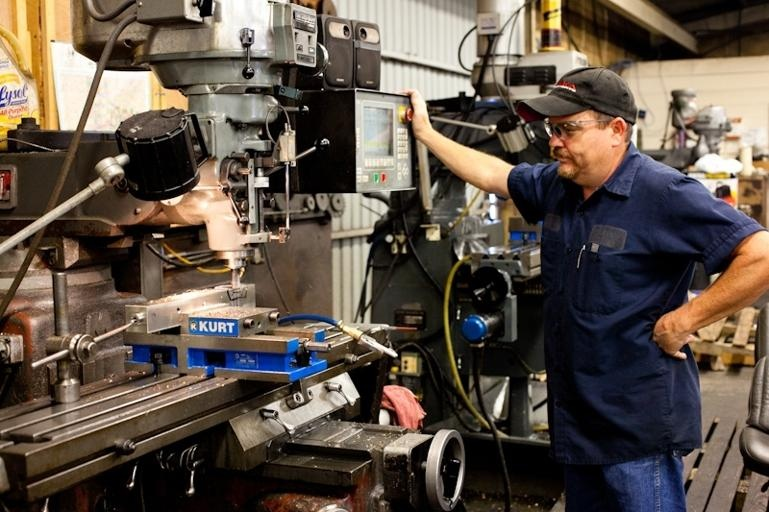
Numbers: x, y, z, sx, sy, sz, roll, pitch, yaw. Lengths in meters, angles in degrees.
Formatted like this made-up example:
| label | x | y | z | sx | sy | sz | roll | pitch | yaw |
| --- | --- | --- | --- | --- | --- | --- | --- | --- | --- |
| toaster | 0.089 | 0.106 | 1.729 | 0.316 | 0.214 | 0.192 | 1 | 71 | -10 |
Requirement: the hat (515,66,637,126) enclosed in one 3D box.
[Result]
| label | x | y | z | sx | sy | sz | roll | pitch | yaw |
| --- | --- | --- | --- | --- | --- | --- | --- | --- | --- |
| hat | 0.704 | -0.564 | 3.157 | 0.318 | 0.185 | 0.211 | 10 | 10 | 1 |
